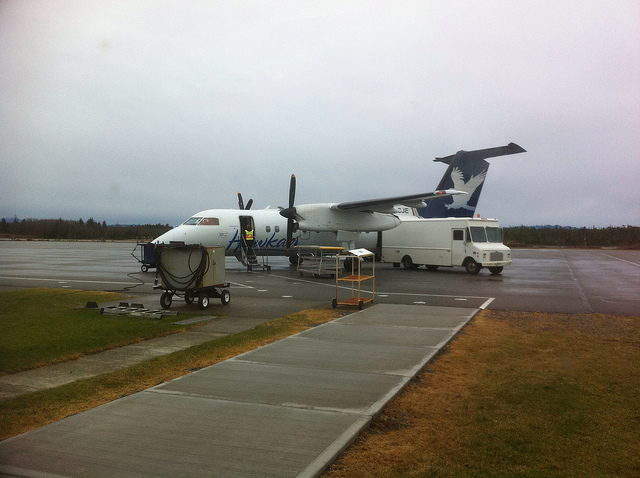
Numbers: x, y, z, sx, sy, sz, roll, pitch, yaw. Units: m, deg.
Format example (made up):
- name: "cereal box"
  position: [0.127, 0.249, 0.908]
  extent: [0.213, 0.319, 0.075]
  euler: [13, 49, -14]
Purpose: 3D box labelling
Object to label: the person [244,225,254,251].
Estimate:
- name: "person"
  position: [-4.283, -0.131, 25.686]
  extent: [0.655, 1.351, 0.302]
  euler: [0, 3, -30]
